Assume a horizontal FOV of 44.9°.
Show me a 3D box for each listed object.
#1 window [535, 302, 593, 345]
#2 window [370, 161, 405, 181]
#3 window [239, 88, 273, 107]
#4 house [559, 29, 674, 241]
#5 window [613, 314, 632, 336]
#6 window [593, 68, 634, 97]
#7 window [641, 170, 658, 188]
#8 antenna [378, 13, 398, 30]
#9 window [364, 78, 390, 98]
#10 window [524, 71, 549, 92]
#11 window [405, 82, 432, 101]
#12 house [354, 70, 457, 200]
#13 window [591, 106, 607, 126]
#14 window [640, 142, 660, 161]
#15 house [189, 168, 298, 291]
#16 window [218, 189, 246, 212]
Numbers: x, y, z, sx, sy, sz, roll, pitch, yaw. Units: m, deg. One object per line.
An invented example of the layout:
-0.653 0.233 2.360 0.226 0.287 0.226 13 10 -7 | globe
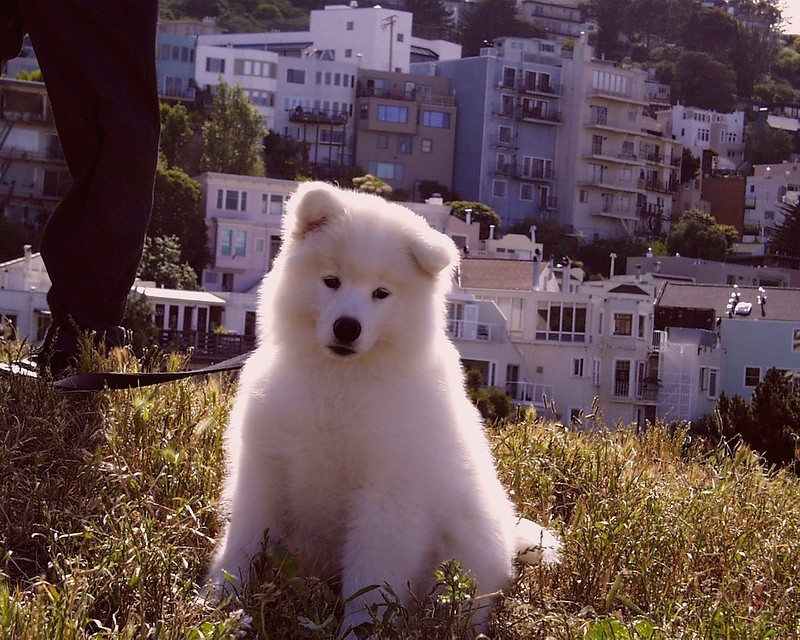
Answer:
8.223 0.354 49.845 1.891 1.766 2.127 2 6 8 | window
-1.030 -11.832 77.066 2.644 1.372 0.489 4 4 0 | window
-11.753 -18.616 81.470 2.253 1.303 0.736 3 4 -14 | window
18.306 -14.377 83.881 10.203 15.960 8.484 0 11 -26 | house
11.696 0.263 50.854 0.884 1.271 0.159 0 -6 2 | window
17.311 -19.456 79.604 3.720 1.902 0.746 2 4 -24 | window
22.062 -12.493 85.915 1.628 1.854 0.911 -1 0 -44 | window
-1.088 -28.008 91.179 1.154 1.652 1.132 2 7 -2 | antenna
-1.947 -19.197 79.402 1.651 2.054 1.155 0 -18 -1 | window
10.894 -19.260 78.228 0.134 1.390 1.830 -4 -4 42 | window
1.455 -18.511 78.772 1.480 1.271 0.108 2 -3 -8 | window
0.374 -14.245 80.033 8.244 11.724 8.162 1 -13 21 | house
16.191 -16.612 79.132 1.476 1.827 0.167 5 -20 -11 | window
21.980 -14.911 86.103 2.262 1.981 1.275 -2 2 -40 | window
-9.980 -4.968 59.532 6.671 7.435 4.692 -1 7 -41 | house
-10.138 -7.134 57.633 1.015 0.902 0.059 8 3 -10 | window
